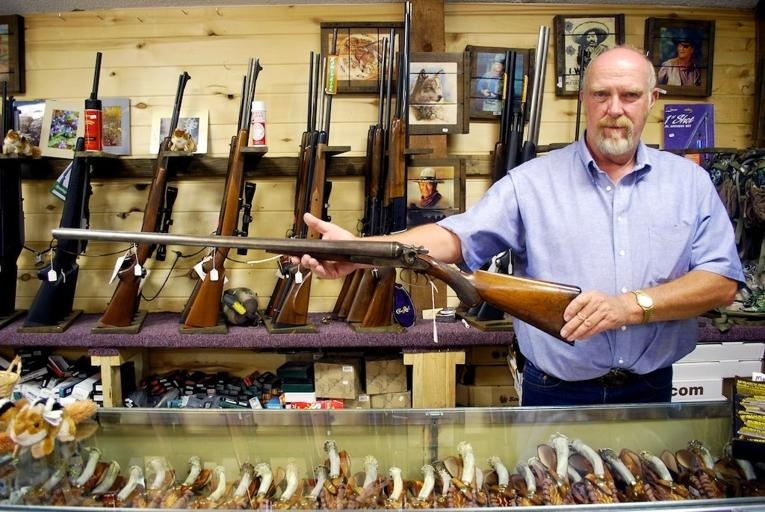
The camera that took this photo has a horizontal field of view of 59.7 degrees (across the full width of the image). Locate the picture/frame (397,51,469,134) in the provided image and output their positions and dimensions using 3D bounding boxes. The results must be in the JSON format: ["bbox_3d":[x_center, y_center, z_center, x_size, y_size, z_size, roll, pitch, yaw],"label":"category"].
[{"bbox_3d":[0.348,-1.183,4.770,0.678,0.741,0.077,-1,4,-3],"label":"picture/frame"}]

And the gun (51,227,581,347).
[{"bbox_3d":[-0.122,0.137,3.068,2.025,0.418,0.211,2,3,3],"label":"gun"}]

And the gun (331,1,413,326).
[{"bbox_3d":[-0.054,-0.689,4.476,0.137,2.312,0.437,1,-3,23],"label":"gun"}]

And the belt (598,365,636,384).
[{"bbox_3d":[1.132,0.581,3.199,0.100,0.026,0.103,-24,22,-29],"label":"belt"}]
